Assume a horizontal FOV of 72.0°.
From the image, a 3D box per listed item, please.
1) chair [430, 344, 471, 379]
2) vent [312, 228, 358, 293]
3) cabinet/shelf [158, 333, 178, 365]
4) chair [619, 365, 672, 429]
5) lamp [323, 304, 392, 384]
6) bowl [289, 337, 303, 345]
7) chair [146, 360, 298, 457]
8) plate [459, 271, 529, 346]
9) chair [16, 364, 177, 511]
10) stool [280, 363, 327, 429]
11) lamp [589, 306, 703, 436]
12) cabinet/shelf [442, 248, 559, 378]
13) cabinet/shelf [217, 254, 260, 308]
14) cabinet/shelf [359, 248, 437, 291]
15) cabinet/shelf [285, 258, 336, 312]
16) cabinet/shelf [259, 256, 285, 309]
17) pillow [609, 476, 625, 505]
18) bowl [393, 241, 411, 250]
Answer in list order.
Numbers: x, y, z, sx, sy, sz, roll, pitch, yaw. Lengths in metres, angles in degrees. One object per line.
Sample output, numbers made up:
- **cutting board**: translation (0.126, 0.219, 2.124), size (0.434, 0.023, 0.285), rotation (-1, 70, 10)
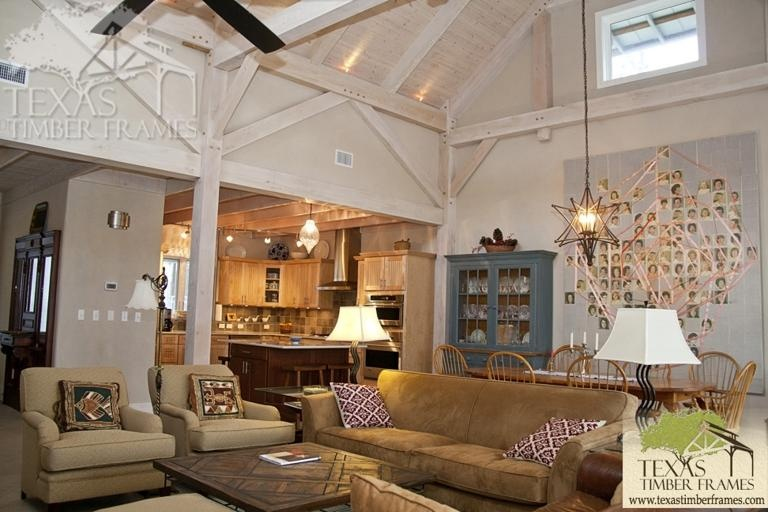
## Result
- **chair**: translation (1.037, 1.824, 8.250), size (0.582, 0.758, 0.615), rotation (1, 0, 13)
- **vent**: translation (-0.816, 0.072, 10.775), size (0.666, 1.242, 0.364), rotation (0, -7, 2)
- **cabinet/shelf**: translation (-4.316, 1.935, 10.589), size (0.371, 0.644, 0.399), rotation (3, -22, -24)
- **chair**: translation (1.825, 0.983, 3.740), size (0.132, 0.455, 0.172), rotation (7, -20, -1)
- **lamp**: translation (-0.341, 1.017, 5.822), size (0.636, 0.921, 0.665), rotation (11, -16, -31)
- **bowl**: translation (-1.308, 1.269, 7.938), size (0.184, 0.126, 0.156), rotation (0, -4, -3)
- **chair**: translation (-1.826, 1.832, 5.769), size (1.122, 1.308, 1.441), rotation (9, -16, -40)
- **plate**: translation (1.759, 0.834, 8.236), size (1.137, 1.112, 0.162), rotation (-4, -10, 38)
- **chair**: translation (-2.740, 1.677, 5.049), size (1.088, 1.175, 1.055), rotation (-7, -10, 44)
- **stool**: translation (-1.089, 1.893, 7.472), size (0.656, 0.850, 0.634), rotation (3, -11, -20)
- **lamp**: translation (1.798, 0.770, 3.630), size (0.610, 0.813, 0.437), rotation (4, -8, -29)
- **cabinet/shelf**: translation (1.839, 0.901, 8.038), size (1.894, 2.298, 0.632), rotation (-3, -8, 36)
- **cabinet/shelf**: translation (-3.252, 0.579, 11.789), size (1.165, 1.183, 0.456), rotation (5, -4, -41)
- **cabinet/shelf**: translation (0.233, 0.343, 9.377), size (0.701, 0.742, 1.242), rotation (7, -7, -44)
- **cabinet/shelf**: translation (-1.725, 0.654, 11.740), size (1.295, 1.070, 0.451), rotation (-4, -6, 40)
- **cabinet/shelf**: translation (-2.525, 0.636, 12.024), size (0.401, 0.888, 0.226), rotation (2, -3, -14)
- **pillow**: translation (1.406, 1.431, 3.182), size (0.051, 0.190, 0.205), rotation (-1, -9, 27)
- **bowl**: translation (0.337, -0.165, 9.269), size (0.201, 0.167, 0.197), rotation (0, -2, 0)
